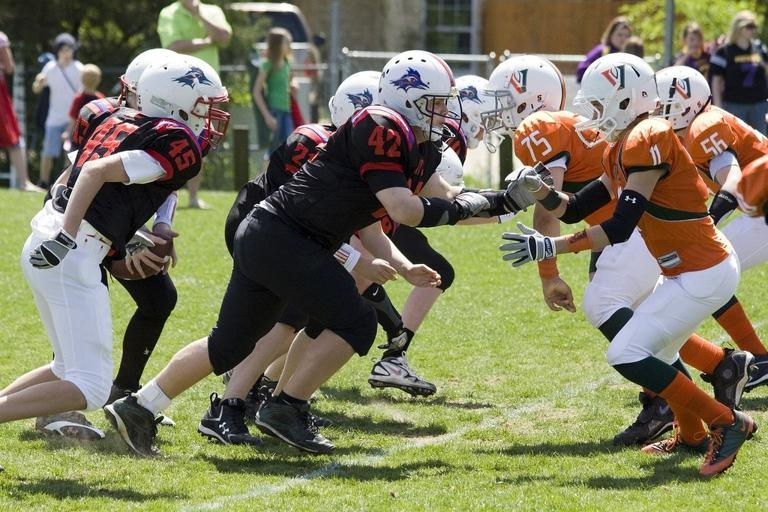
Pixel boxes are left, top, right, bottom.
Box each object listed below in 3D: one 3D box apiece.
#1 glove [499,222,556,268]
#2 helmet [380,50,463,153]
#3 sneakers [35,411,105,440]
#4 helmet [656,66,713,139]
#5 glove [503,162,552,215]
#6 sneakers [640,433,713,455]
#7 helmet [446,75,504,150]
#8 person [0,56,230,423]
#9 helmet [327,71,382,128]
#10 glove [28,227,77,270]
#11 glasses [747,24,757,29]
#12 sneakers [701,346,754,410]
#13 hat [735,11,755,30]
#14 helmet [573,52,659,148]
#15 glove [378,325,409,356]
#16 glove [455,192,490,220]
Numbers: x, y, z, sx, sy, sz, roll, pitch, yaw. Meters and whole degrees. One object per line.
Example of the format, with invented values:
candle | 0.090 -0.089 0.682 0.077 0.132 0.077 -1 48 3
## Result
glove | 0.877 -0.052 6.249 0.314 0.254 0.119 -3 -8 7
helmet | 0.211 -1.024 6.362 0.546 0.592 0.443 11 20 22
sneakers | -1.976 1.043 6.523 0.471 0.209 0.193 4 -1 4
helmet | 2.027 -1.117 7.026 0.463 0.416 0.386 -2 15 5
glove | 0.867 -0.395 6.162 0.307 0.154 0.274 -6 42 42
sneakers | 1.800 1.156 6.297 0.418 0.199 0.154 4 -9 3
helmet | 0.642 -1.138 7.707 0.451 0.513 0.393 13 13 10
person | -1.686 -0.153 6.192 1.465 2.050 0.581 -8 15 -32
helmet | -0.231 -1.190 7.161 0.465 0.407 0.379 2 43 3
glove | -1.931 -0.017 5.927 0.195 0.236 0.100 42 -11 17
glasses | 4.295 -2.680 11.855 0.034 0.063 0.219 11 18 40
sneakers | 2.211 0.820 6.513 0.215 0.502 0.168 4 29 1
hat | 4.218 -2.787 11.935 0.247 0.197 0.255 -12 15 -24
helmet | 1.501 -1.031 6.552 0.563 0.610 0.461 0 17 21
glove | 0.088 0.625 7.408 0.212 0.114 0.163 -29 12 34
glove | 0.522 -0.305 6.132 0.135 0.098 0.191 11 7 34
